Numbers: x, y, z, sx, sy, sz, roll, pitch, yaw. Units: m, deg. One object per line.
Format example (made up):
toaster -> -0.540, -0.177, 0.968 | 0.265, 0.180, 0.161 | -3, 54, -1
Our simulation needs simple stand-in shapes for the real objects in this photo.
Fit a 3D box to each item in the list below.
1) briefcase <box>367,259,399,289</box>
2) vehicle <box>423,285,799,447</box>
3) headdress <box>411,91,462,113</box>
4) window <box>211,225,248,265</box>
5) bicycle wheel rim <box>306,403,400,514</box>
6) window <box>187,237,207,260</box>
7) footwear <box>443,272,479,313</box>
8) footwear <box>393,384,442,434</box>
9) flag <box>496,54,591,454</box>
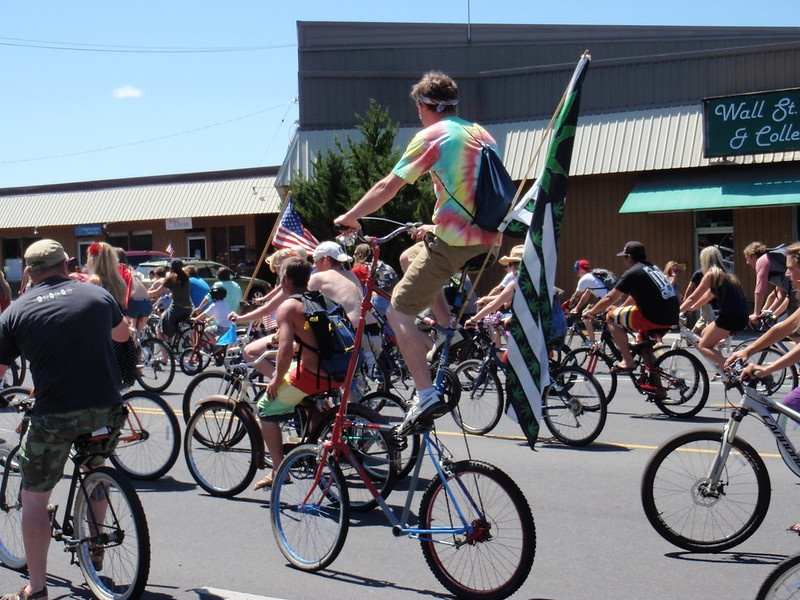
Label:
briefcase -> -0.232, -0.316, 14.194 | 0.342, 0.401, 0.284 | -4, 0, 13
vehicle -> 2.013, 0.741, 11.988 | 3.011, 2.122, 1.608 | 3, -3, 18
headdress -> 0.271, -1.562, 8.226 | 0.194, 0.081, 0.176 | -13, -6, 39
window -> -5.915, -1.920, 35.919 | 1.344, 1.659, 0.077 | 2, 5, 32
bicycle wheel rim -> -0.402, 1.339, 8.632 | 0.892, 1.141, 0.335 | 2, 17, 23
window -> -7.213, -1.825, 36.616 | 0.869, 1.162, 0.071 | 0, 0, 28
footwear -> 0.585, -0.057, 9.961 | 0.363, 0.285, 0.520 | 25, 18, 2
footwear -> 0.082, 0.843, 7.843 | 0.482, 0.166, 0.246 | -42, 25, 12
flag -> 1.050, -0.316, 7.643 | 0.284, 2.703, 0.680 | 4, 5, 30
